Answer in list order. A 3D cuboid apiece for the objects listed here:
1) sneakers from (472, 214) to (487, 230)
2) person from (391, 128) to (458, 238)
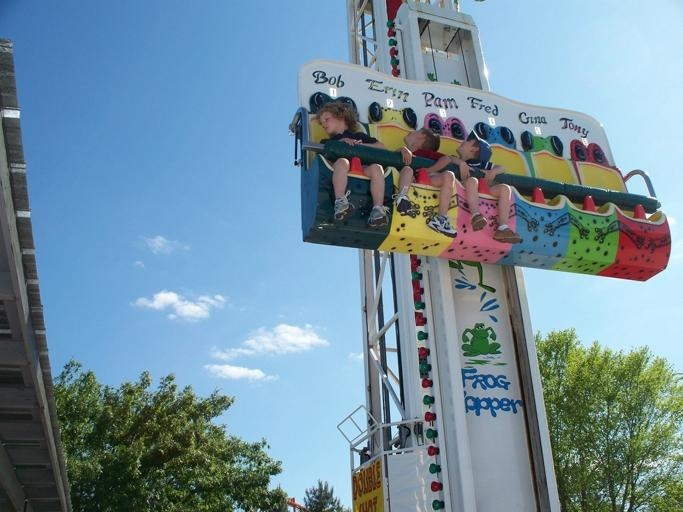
[{"bbox_3d":[2.451,-0.630,10.849,0.175,0.205,0.334,6,-46,-7],"label":"sneakers"},{"bbox_3d":[1.472,-1.265,10.972,0.979,2.597,1.387,8,-40,-4],"label":"person"}]
